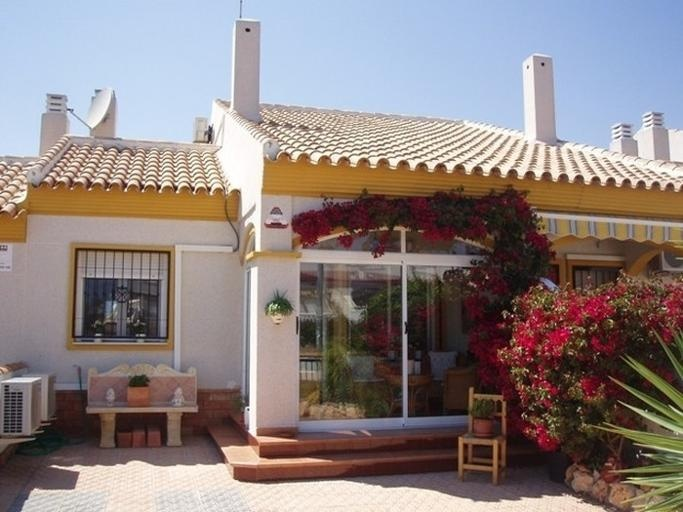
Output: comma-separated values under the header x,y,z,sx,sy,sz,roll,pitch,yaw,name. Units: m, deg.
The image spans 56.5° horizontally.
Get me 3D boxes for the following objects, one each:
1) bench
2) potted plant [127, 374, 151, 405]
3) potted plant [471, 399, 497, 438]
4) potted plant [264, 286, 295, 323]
x,y,z,sx,sy,sz,roll,pitch,yaw,name
-4.924,3.657,15.656,2.524,2.046,0.929,3,-5,-20,bench
-4.976,3.248,15.667,0.545,0.792,0.545,2,8,-9,potted plant
2.972,3.295,13.189,0.529,0.711,0.502,-5,-9,30,potted plant
-1.346,1.092,14.005,0.635,0.756,0.579,-7,14,-35,potted plant
